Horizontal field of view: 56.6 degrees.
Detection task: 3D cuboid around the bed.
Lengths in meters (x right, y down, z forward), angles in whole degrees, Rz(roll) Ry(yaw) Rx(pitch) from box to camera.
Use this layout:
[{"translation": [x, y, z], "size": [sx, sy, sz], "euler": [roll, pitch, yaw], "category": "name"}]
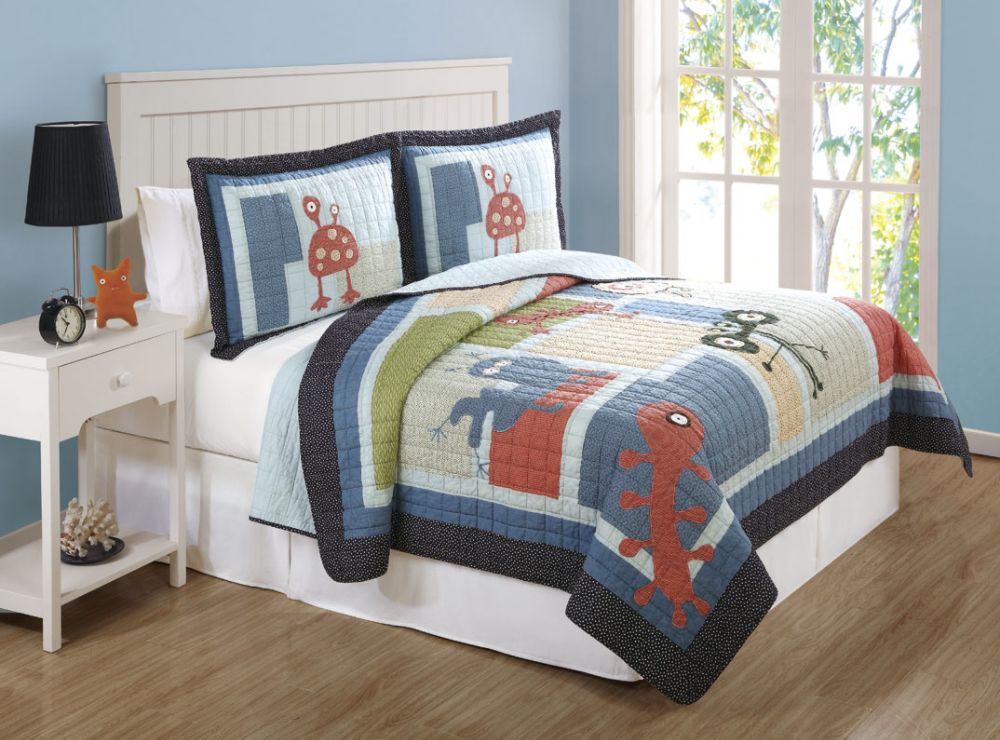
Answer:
[{"translation": [-0.032, -0.036, 2.884], "size": [2.063, 1.356, 2.190], "euler": [5, 11, 31], "category": "bed"}]
